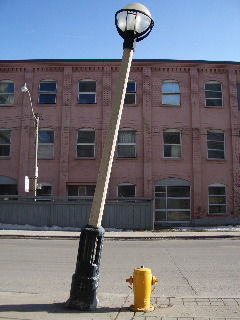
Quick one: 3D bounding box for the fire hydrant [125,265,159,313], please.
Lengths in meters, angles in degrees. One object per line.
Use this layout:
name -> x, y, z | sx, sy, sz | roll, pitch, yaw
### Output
fire hydrant -> 0.303, 1.854, 6.520 | 0.437, 0.633, 0.261 | 2, -10, 4
